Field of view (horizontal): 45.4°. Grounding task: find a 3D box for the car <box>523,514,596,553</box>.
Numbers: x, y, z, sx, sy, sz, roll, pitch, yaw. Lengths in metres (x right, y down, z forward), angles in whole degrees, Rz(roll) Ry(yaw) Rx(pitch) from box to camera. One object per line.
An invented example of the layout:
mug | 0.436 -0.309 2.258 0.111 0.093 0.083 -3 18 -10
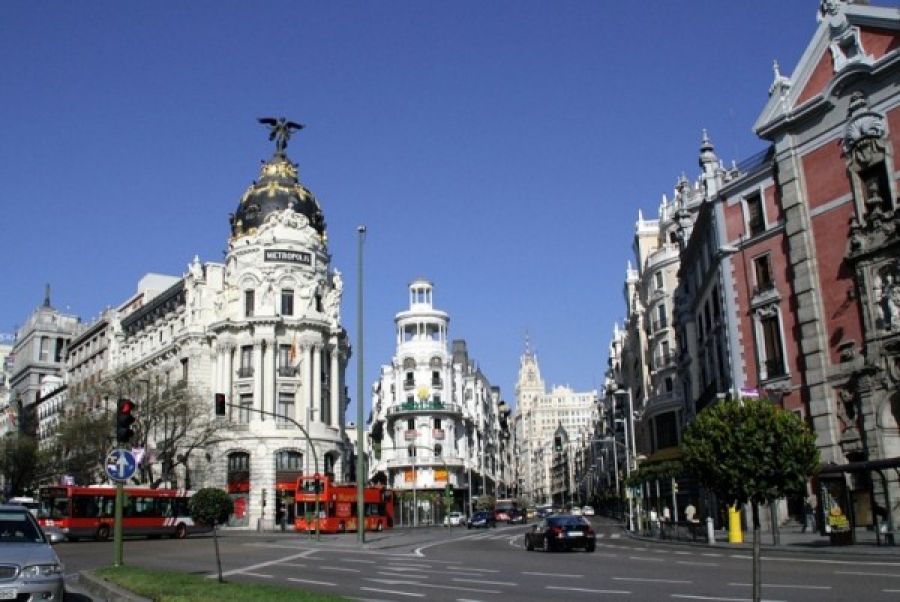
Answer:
car | 6.290 13.216 61.432 2.967 1.934 5.899 1 -11 -12

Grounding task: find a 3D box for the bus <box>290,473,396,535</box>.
bus | -8.062 16.150 85.183 3.252 4.211 10.131 -5 -12 29
